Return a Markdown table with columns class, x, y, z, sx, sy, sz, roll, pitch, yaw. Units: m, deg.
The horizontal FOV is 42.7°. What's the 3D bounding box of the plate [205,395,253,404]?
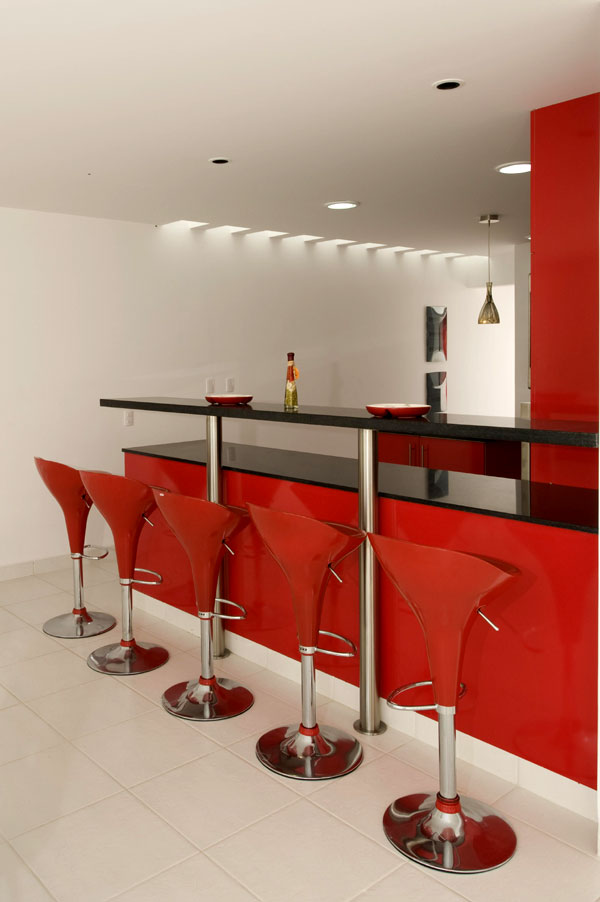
| class | x | y | z | sx | sy | sz | roll | pitch | yaw |
| --- | --- | --- | --- | --- | --- | --- | --- | --- | --- |
| plate | -0.316 | -0.220 | 3.404 | 0.191 | 0.046 | 0.116 | -2 | 6 | -9 |
